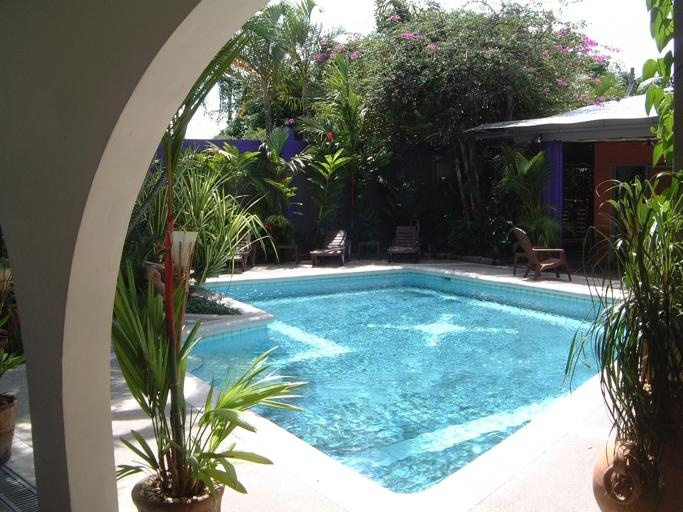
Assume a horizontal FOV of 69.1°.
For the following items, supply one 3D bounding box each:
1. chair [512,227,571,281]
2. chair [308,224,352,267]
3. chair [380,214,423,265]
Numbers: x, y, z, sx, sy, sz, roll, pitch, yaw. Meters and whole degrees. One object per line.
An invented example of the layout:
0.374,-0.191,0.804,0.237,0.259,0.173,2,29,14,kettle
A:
4.200,-0.067,10.492,1.023,1.095,1.080,-2,1,24,chair
-0.246,-0.206,12.934,0.606,0.890,1.276,0,1,15,chair
1.804,-0.284,13.836,0.705,0.888,1.262,2,-9,6,chair
